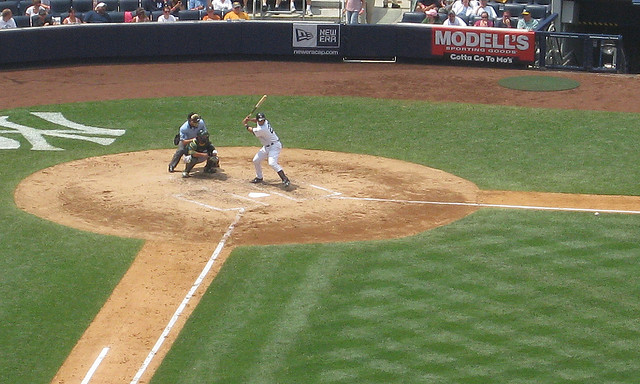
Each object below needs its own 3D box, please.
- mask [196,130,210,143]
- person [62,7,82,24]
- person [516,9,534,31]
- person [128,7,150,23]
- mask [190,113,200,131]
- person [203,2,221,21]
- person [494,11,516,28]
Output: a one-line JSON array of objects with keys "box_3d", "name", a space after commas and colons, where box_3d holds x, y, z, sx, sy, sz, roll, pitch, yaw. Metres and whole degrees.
[{"box_3d": [-4.118, -1.909, 32.142, 0.511, 0.349, 0.357, 12, 20, 39], "name": "mask"}, {"box_3d": [-11.409, -7.850, 42.313, 0.752, 0.662, 0.698, -3, 14, -13], "name": "person"}, {"box_3d": [9.152, -7.633, 41.902, 0.723, 0.875, 1.731, 2, 12, 9], "name": "person"}, {"box_3d": [-8.595, -8.147, 43.613, 0.541, 1.317, 0.477, 10, 47, 12], "name": "person"}, {"box_3d": [-4.398, -2.349, 32.233, 0.374, 0.571, 0.209, -6, 16, -23], "name": "mask"}, {"box_3d": [-5.331, -8.319, 44.172, 0.733, 0.469, 1.278, -9, 8, -10], "name": "person"}, {"box_3d": [8.363, -7.715, 42.400, 0.979, 0.688, 0.713, 1, 13, 2], "name": "person"}]
